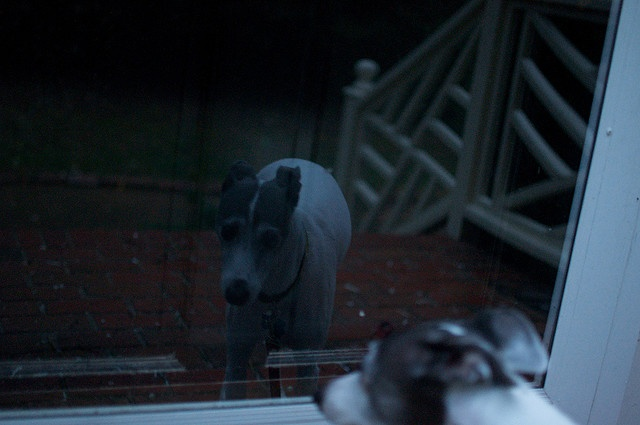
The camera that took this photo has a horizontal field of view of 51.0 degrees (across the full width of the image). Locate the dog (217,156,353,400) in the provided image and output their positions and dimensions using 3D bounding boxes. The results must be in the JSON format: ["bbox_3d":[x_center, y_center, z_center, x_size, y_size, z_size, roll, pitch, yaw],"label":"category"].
[{"bbox_3d":[-0.137,0.217,2.762,0.402,1.025,1.032,7,22,11],"label":"dog"}]
